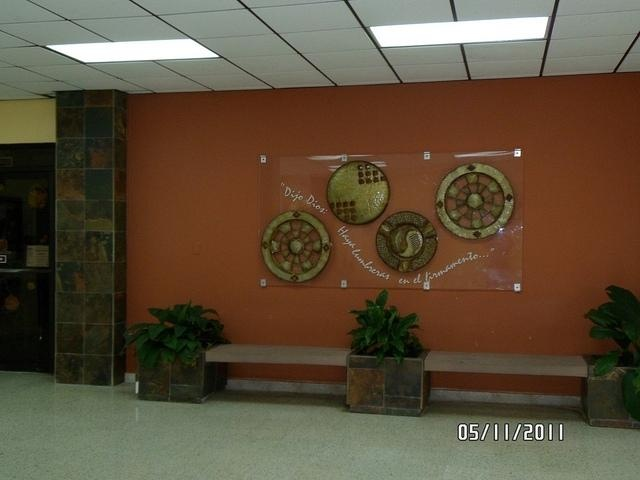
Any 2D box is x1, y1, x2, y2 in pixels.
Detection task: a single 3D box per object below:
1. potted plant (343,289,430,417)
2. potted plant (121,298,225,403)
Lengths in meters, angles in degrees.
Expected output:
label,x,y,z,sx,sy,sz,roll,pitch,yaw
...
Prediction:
label,x,y,z,sx,sy,sz,roll,pitch,yaw
potted plant,0.773,1.225,5.440,0.943,1.310,1.002,3,-4,-24
potted plant,-1.584,1.338,5.882,1.112,1.146,1.074,5,-11,-10
